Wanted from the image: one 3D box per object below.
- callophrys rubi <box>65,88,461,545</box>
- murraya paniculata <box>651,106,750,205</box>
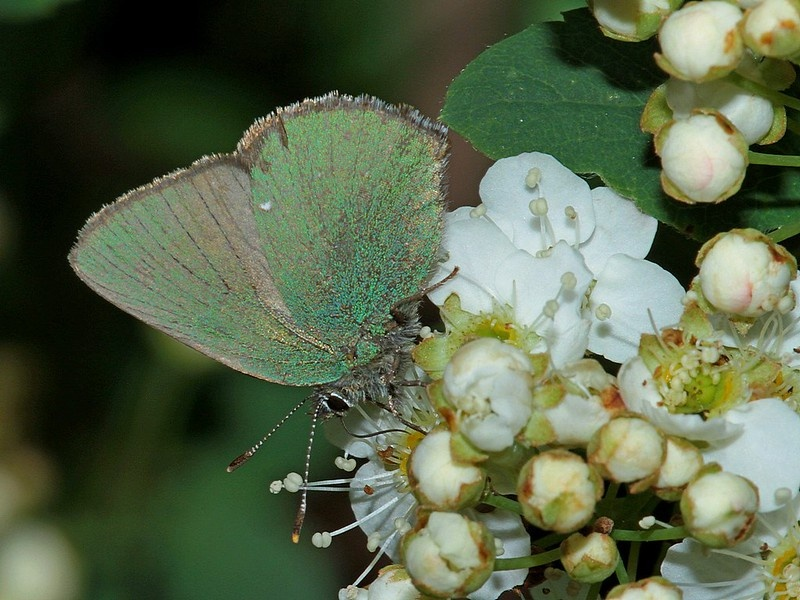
[{"bbox_3d":[-0.268,-0.066,2.551,1.002,0.654,0.609,-25,58,-11],"label":"callophrys rubi"},{"bbox_3d":[0.703,-0.329,2.208,0.188,0.151,0.157,11,59,12],"label":"murraya paniculata"}]
